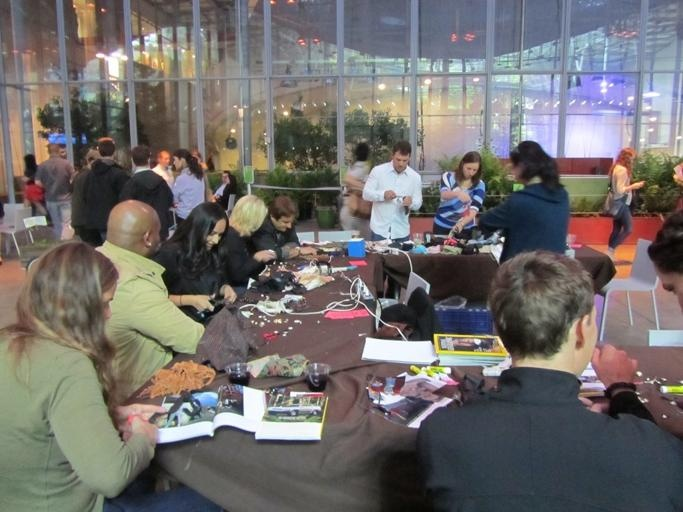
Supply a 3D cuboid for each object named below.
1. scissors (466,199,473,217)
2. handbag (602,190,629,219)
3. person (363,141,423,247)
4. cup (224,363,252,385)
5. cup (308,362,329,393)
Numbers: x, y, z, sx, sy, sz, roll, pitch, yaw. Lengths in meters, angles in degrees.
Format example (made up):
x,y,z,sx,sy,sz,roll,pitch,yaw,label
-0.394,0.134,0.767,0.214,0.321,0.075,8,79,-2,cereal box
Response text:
x,y,z,sx,sy,sz,roll,pitch,yaw,label
1.343,-0.498,5.626,0.073,0.168,0.132,1,14,10,scissors
3.950,-0.739,7.639,0.324,0.353,0.349,5,15,27,handbag
0.536,-0.661,5.760,0.627,1.113,0.649,0,14,7,person
-0.452,0.496,2.269,0.085,0.066,0.090,0,4,0,cup
-0.098,0.508,2.241,0.096,0.076,0.101,0,4,0,cup
